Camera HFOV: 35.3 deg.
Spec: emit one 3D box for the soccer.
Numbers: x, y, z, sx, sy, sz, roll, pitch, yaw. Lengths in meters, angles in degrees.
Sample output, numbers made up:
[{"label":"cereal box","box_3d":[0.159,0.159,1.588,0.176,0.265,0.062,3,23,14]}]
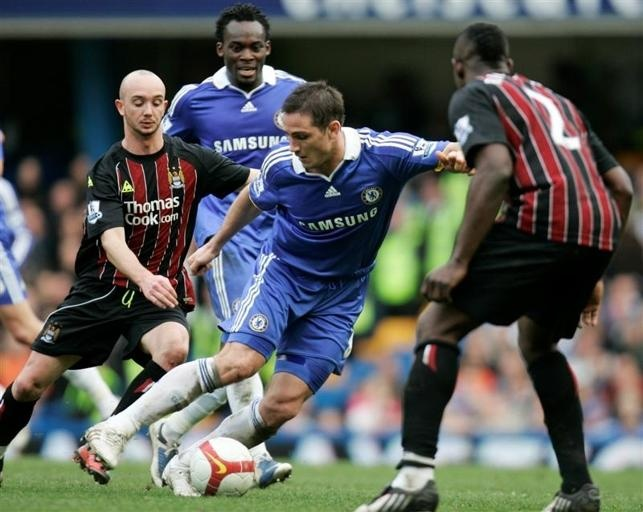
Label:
[{"label":"soccer","box_3d":[-0.664,1.365,6.517,0.345,0.349,0.323,-3,-10,-28]}]
